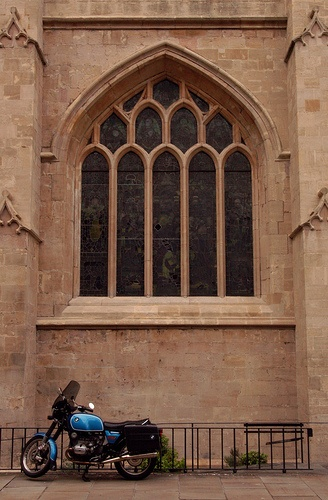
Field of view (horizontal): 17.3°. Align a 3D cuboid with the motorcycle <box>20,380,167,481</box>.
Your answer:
[{"bbox_3d":[-1.172,2.828,16.702,2.189,1.419,0.922,2,-13,3],"label":"motorcycle"}]
